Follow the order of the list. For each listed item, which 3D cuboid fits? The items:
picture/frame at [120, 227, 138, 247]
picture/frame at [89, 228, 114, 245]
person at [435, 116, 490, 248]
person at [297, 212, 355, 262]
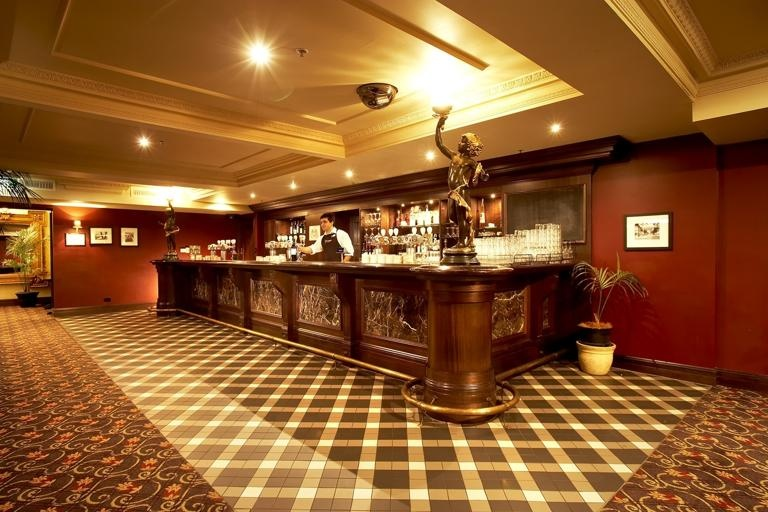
[{"bbox_3d":[-6.700,-0.511,12.148,0.423,0.540,0.039,16,-18,-34],"label":"picture/frame"},{"bbox_3d":[-7.163,-0.496,11.708,0.442,0.394,0.042,0,-3,-41],"label":"picture/frame"},{"bbox_3d":[0.873,-0.854,5.277,0.583,1.511,0.686,1,15,2],"label":"person"},{"bbox_3d":[-0.872,-0.290,8.144,0.567,0.945,1.176,-2,15,-7],"label":"person"}]
